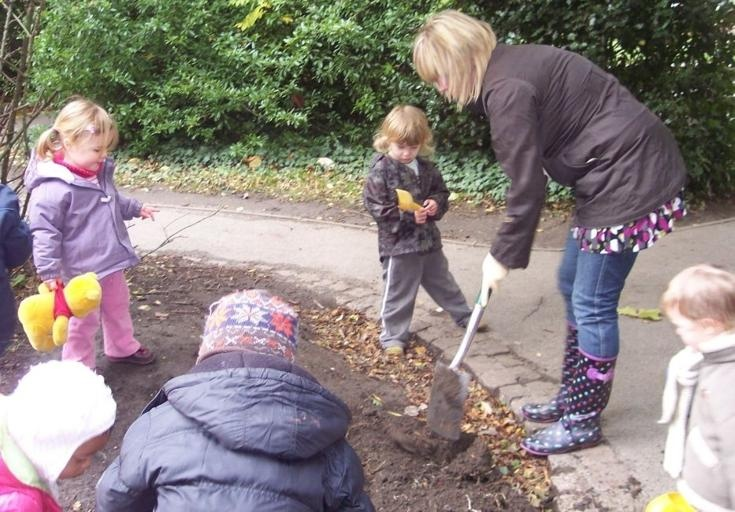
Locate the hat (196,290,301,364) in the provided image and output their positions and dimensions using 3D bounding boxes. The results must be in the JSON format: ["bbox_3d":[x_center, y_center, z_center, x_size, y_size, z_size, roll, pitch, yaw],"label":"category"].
[{"bbox_3d":[-0.582,0.378,3.105,0.385,0.266,0.390,-6,-32,24],"label":"hat"}]

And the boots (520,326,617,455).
[{"bbox_3d":[1.246,0.760,4.018,0.686,0.862,0.712,-1,13,10],"label":"boots"}]

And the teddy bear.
[{"bbox_3d":[-1.961,0.357,4.115,0.515,0.536,0.468,-14,-13,-27],"label":"teddy bear"}]

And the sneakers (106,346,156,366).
[{"bbox_3d":[-1.768,0.767,4.660,0.323,0.148,0.140,-4,29,-10],"label":"sneakers"}]
